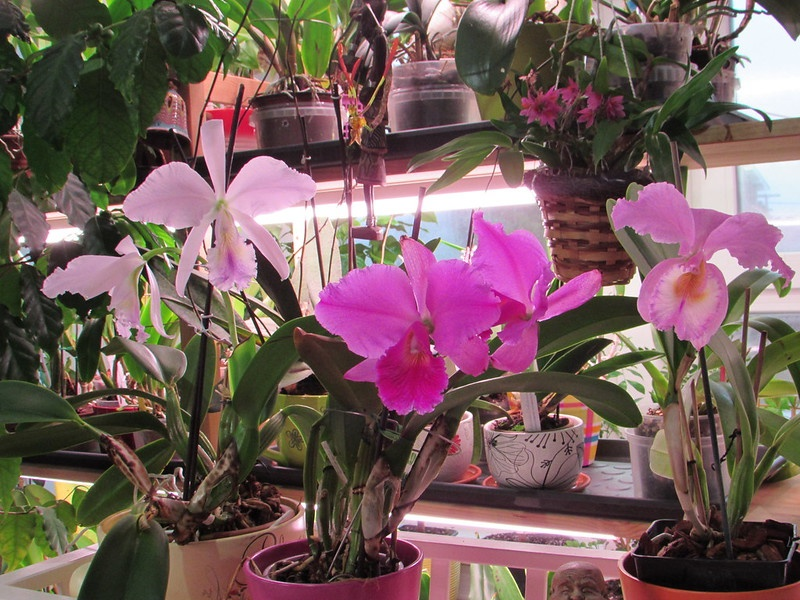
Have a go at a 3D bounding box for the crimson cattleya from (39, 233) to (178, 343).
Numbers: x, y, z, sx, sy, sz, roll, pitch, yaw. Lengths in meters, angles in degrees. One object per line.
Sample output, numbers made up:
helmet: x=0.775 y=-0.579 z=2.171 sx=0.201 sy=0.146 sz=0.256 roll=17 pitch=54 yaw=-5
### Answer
crimson cattleya: x=-0.361 y=-0.019 z=0.780 sx=0.136 sy=0.150 sz=0.070 roll=-16 pitch=-8 yaw=-38

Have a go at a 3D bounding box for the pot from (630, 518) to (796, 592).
pot: x=0.347 y=0.279 z=0.698 sx=0.176 sy=0.047 sz=0.108 roll=-4 pitch=2 yaw=17

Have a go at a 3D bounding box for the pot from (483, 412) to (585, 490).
pot: x=0.252 y=0.285 z=1.195 sx=0.183 sy=0.118 sz=0.182 roll=-3 pitch=1 yaw=0

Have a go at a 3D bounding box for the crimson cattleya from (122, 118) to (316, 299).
crimson cattleya: x=-0.196 y=-0.098 z=0.701 sx=0.209 sy=0.193 sz=0.067 roll=-10 pitch=28 yaw=-20

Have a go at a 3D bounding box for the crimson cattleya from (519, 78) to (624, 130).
crimson cattleya: x=0.273 y=-0.312 z=1.015 sx=0.136 sy=0.071 sz=0.085 roll=0 pitch=12 yaw=-4

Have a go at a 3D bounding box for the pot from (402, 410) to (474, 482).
pot: x=0.064 y=0.292 z=1.216 sx=0.117 sy=0.102 sz=0.132 roll=-9 pitch=-8 yaw=10

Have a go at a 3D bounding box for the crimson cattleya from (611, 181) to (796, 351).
crimson cattleya: x=0.306 y=-0.035 z=0.635 sx=0.148 sy=0.167 sz=0.151 roll=-3 pitch=2 yaw=33

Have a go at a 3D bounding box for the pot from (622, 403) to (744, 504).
pot: x=0.459 y=0.292 z=1.092 sx=0.126 sy=0.116 sz=0.141 roll=6 pitch=-9 yaw=-19

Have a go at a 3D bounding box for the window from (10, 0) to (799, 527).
window: x=-0.017 y=-0.075 z=0.964 sx=1.158 sy=1.267 sz=0.115 roll=2 pitch=3 yaw=5

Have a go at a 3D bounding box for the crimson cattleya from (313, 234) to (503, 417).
crimson cattleya: x=0.011 y=0.020 z=0.620 sx=0.153 sy=0.168 sz=0.080 roll=-7 pitch=-2 yaw=-6

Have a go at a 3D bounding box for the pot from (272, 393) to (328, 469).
pot: x=-0.193 y=0.274 z=1.262 sx=0.104 sy=0.125 sz=0.109 roll=-8 pitch=-5 yaw=-1

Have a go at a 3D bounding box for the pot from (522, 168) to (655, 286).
pot: x=0.285 y=-0.118 z=1.023 sx=0.188 sy=0.166 sz=0.197 roll=1 pitch=-1 yaw=0

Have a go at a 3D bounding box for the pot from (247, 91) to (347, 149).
pot: x=-0.237 y=-0.408 z=1.484 sx=0.194 sy=0.112 sz=0.198 roll=0 pitch=11 yaw=0

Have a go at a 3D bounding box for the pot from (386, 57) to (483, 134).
pot: x=0.081 y=-0.409 z=1.411 sx=0.189 sy=0.150 sz=0.190 roll=-3 pitch=6 yaw=0

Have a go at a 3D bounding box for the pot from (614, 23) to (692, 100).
pot: x=0.461 y=-0.425 z=1.137 sx=0.117 sy=0.135 sz=0.120 roll=-2 pitch=21 yaw=1
